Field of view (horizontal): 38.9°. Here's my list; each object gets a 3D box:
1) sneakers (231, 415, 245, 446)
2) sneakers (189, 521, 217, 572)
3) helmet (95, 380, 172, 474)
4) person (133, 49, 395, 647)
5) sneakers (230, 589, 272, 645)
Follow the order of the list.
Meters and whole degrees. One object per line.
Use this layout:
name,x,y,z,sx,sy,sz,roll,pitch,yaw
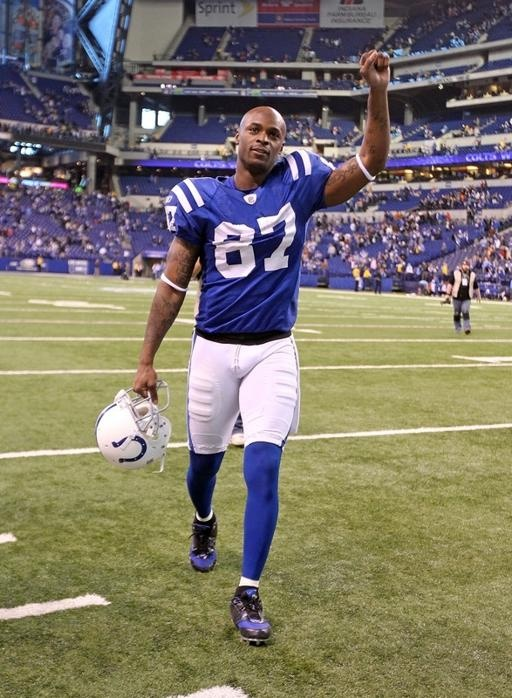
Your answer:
sneakers,-0.122,0.545,4.696,0.123,0.142,0.344,4,7,0
sneakers,-0.199,0.745,2.726,0.076,0.080,0.189,0,48,0
helmet,-0.428,0.300,2.857,0.392,0.395,0.341,1,-3,2
person,-0.053,-0.110,2.557,0.813,1.891,0.715,8,9,31
sneakers,-0.025,0.814,2.217,0.070,0.080,0.184,0,3,-17
